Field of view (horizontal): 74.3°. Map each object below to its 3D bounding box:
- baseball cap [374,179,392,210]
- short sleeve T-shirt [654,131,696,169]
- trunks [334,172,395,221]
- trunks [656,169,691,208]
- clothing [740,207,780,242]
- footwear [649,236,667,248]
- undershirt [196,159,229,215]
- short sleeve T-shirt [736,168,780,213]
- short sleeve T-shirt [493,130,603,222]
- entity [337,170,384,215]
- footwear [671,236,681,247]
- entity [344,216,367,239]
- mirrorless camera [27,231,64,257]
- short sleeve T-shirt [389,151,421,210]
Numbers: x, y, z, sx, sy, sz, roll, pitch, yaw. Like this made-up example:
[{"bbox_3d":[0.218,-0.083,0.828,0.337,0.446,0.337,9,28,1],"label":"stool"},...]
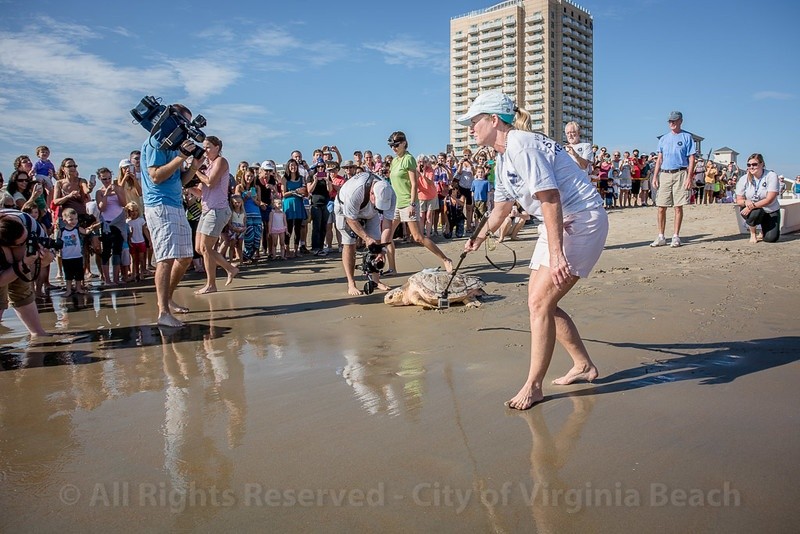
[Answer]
[{"bbox_3d":[-0.274,-1.109,8.211,0.303,0.415,0.236,-5,-20,-29],"label":"baseball cap"},{"bbox_3d":[5.413,-2.282,10.345,0.425,0.726,0.761,-16,19,-38],"label":"short sleeve T-shirt"},{"bbox_3d":[-0.344,-1.113,8.246,0.761,0.660,0.532,-3,3,-15],"label":"trunks"},{"bbox_3d":[5.376,-1.585,10.477,0.611,0.738,0.383,0,12,10],"label":"trunks"},{"bbox_3d":[7.429,-0.854,10.813,0.601,0.688,0.411,0,5,33],"label":"clothing"},{"bbox_3d":[5.221,-0.532,10.676,0.473,0.258,0.181,-5,4,-40],"label":"footwear"},{"bbox_3d":[-2.815,-1.144,8.060,0.365,0.570,0.782,-5,4,-28],"label":"undershirt"},{"bbox_3d":[7.623,-1.688,11.194,0.426,0.704,0.674,19,-12,-42],"label":"short sleeve T-shirt"},{"bbox_3d":[1.153,-0.738,4.164,0.773,0.695,0.452,-2,4,16],"label":"short sleeve T-shirt"},{"bbox_3d":[-0.606,-1.089,8.033,0.662,0.709,0.397,-3,4,-8],"label":"entity"},{"bbox_3d":[5.538,-0.523,10.574,0.151,0.158,0.371,-1,13,21],"label":"footwear"},{"bbox_3d":[-0.661,-0.595,8.021,0.326,0.329,0.579,-3,3,-6],"label":"entity"},{"bbox_3d":[-4.090,-0.274,6.048,0.265,0.146,0.236,1,-3,-3],"label":"mirrorless camera"},{"bbox_3d":[0.059,-1.577,9.694,0.651,1.003,0.216,1,5,42],"label":"short sleeve T-shirt"}]
